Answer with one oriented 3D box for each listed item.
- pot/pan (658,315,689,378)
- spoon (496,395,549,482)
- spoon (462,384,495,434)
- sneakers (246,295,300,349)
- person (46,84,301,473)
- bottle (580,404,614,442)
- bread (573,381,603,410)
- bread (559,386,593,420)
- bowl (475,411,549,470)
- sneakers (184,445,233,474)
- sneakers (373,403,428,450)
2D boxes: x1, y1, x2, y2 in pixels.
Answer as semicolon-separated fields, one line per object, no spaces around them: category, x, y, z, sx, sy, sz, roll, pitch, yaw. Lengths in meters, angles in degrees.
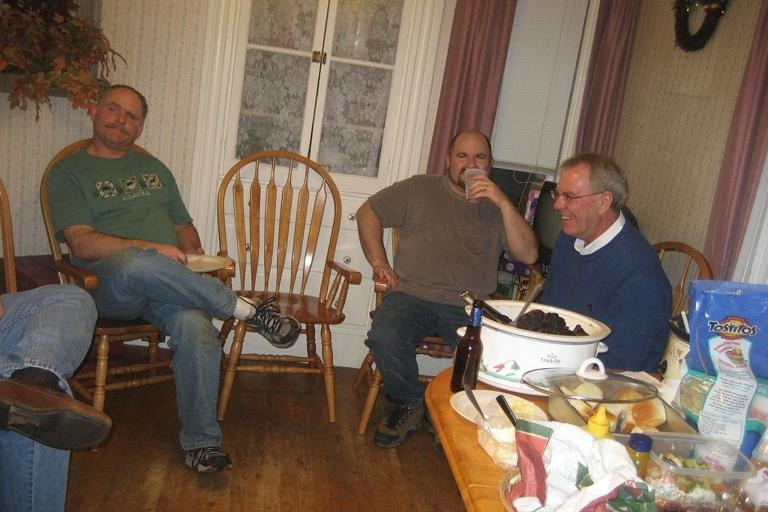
pot/pan;0.924;0.287;1.805;0.053;0.184;0.144;10;18;22
spoon;0.367;0.463;1.556;0.086;0.025;0.146;-19;67;-29
spoon;0.282;0.461;1.701;0.031;0.022;0.146;7;32;-24
sneakers;-0.610;0.334;2.940;0.358;0.154;0.144;20;3;27
person;-1.111;0.033;2.856;1.265;1.673;0.743;18;22;40
bottle;0.570;0.460;1.550;0.081;0.093;0.088;-5;23;-6
bread;0.590;0.400;1.627;0.069;0.020;0.075;38;52;-2
bread;0.545;0.427;1.641;0.072;0.028;0.096;-28;58;-25
bowl;0.343;0.542;1.713;0.199;0.109;0.256;-9;-14;8
sneakers;-0.797;0.914;2.586;0.219;0.110;0.106;-7;-12;36
sneakers;0.027;0.869;3.008;0.379;0.181;0.158;-11;21;-29
